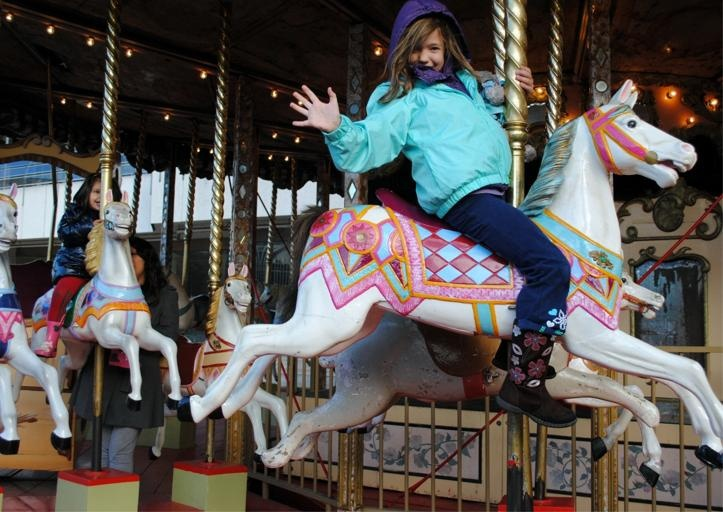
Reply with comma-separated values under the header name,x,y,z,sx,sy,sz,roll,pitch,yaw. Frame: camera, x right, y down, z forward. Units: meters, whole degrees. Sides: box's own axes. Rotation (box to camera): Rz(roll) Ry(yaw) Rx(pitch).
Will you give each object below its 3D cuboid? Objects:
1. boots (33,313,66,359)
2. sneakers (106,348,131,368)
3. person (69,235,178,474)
name,x,y,z,sx,sy,sz,roll,pitch,yaw
boots,-2.936,0.765,7.724,0.241,0.355,0.417,1,-1,-22
sneakers,-2.232,0.938,7.567,0.282,0.180,0.102,1,-1,25
person,-2.203,0.914,7.717,0.966,2.203,0.827,1,-2,-20
